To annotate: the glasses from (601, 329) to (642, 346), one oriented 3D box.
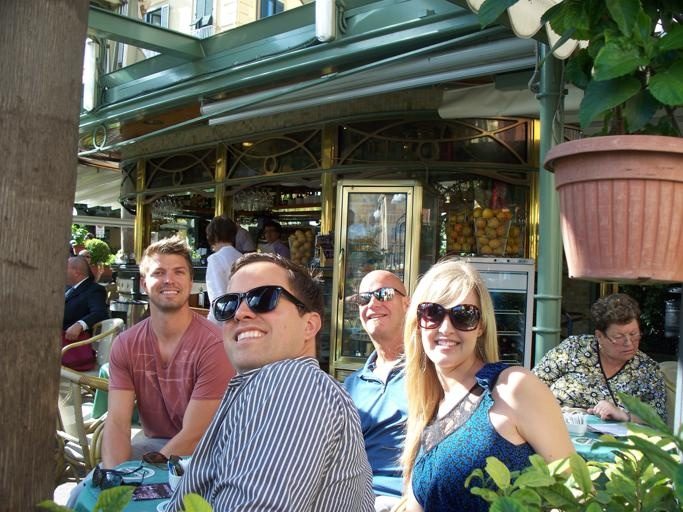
[{"bbox_3d":[1.504,0.426,3.366,0.214,0.065,0.093,0,-1,-19],"label":"glasses"}]
